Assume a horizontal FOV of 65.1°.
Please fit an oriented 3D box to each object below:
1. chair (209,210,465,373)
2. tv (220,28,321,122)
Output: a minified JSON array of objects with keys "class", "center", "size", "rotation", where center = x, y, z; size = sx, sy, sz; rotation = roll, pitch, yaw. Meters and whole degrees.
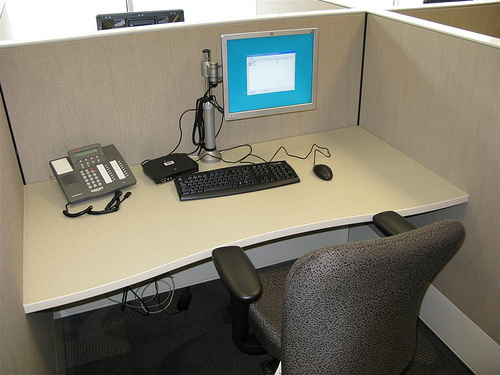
[{"class":"chair","center":[0.338,0.394,1.434],"size":[0.524,0.692,0.439],"rotation":[-10,45,-9]},{"class":"tv","center":[0.089,-0.577,1.963],"size":[0.469,0.358,0.048],"rotation":[-10,31,-14]}]
